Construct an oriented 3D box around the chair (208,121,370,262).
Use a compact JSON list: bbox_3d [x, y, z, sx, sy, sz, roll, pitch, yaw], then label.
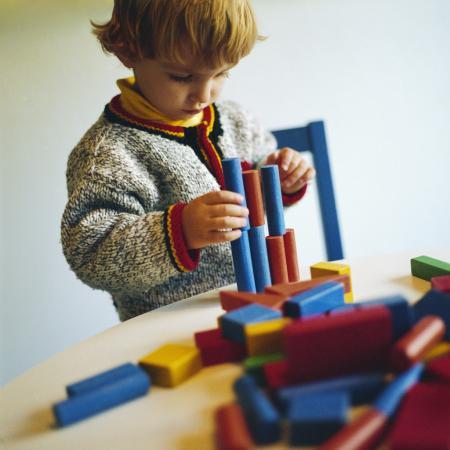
[{"bbox_3d":[0.113,-0.085,1.099,0.230,0.161,0.370,-5,34,12],"label":"chair"}]
